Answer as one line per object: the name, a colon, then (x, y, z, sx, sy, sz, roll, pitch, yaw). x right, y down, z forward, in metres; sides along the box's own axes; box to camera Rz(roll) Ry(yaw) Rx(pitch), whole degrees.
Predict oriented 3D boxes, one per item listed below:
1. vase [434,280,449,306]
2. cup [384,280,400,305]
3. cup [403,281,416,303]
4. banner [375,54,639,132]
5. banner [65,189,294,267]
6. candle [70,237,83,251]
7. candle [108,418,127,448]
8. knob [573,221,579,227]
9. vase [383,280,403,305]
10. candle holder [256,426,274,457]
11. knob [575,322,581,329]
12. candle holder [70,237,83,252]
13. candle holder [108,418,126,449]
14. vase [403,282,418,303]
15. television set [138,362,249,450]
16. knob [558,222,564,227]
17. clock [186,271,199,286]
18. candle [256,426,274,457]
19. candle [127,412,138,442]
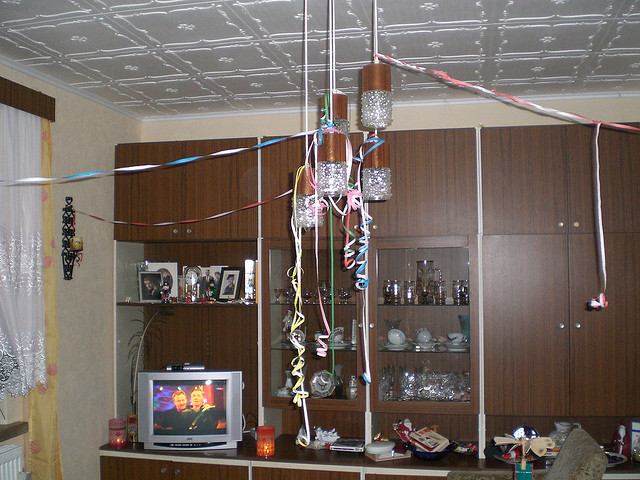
vase: (0.923, 0.402, 4.792, 0.099, 0.186, 0.048, -1, -5, 11)
cup: (0.548, 0.396, 4.840, 0.145, 0.249, 0.164, 3, -5, -6)
cup: (0.682, 0.385, 4.731, 0.125, 0.212, 0.132, -2, 0, 0)
banner: (1.466, -1.112, 4.599, 1.470, 0.183, 0.171, 25, 3, 3)
banner: (-1.174, -0.081, 5.071, 2.094, 0.668, 0.090, 0, 7, 15)
candle: (-1.860, 0.023, 4.726, 0.086, 0.090, 0.088, -1, 0, -18)
candle: (-1.617, 1.533, 4.944, 0.181, 0.286, 0.195, 2, -5, -19)
knob: (1.887, -0.123, 4.607, 0.028, 0.029, 0.007, -7, -8, -6)
vase: (0.569, 0.400, 4.838, 0.153, 0.179, 0.157, 0, -4, 12)
candle holder: (-0.415, 1.543, 4.801, 0.171, 0.205, 0.179, 1, -3, -27)
knob: (1.890, 0.623, 4.579, 0.040, 0.041, 0.011, 1, -5, -7)
candle holder: (-1.863, 0.029, 4.727, 0.092, 0.096, 0.094, -6, -6, 35)
candle holder: (-1.645, 1.556, 4.994, 0.149, 0.221, 0.135, 4, -8, -42)
vase: (0.691, 0.408, 4.836, 0.140, 0.202, 0.126, 3, -5, -40)
television set: (-1.033, 1.310, 5.039, 0.808, 0.666, 0.452, 1, 5, -6)
knob: (1.784, -0.122, 4.620, 0.034, 0.035, 0.009, 0, -7, 12)
clock: (-1.104, 0.316, 5.310, 0.102, 0.113, 0.015, 0, -5, 3)
candle: (-0.417, 1.543, 4.802, 0.171, 0.204, 0.175, 1, -3, -21)
candle: (-1.533, 1.525, 5.050, 0.130, 0.211, 0.046, -3, -6, 32)
